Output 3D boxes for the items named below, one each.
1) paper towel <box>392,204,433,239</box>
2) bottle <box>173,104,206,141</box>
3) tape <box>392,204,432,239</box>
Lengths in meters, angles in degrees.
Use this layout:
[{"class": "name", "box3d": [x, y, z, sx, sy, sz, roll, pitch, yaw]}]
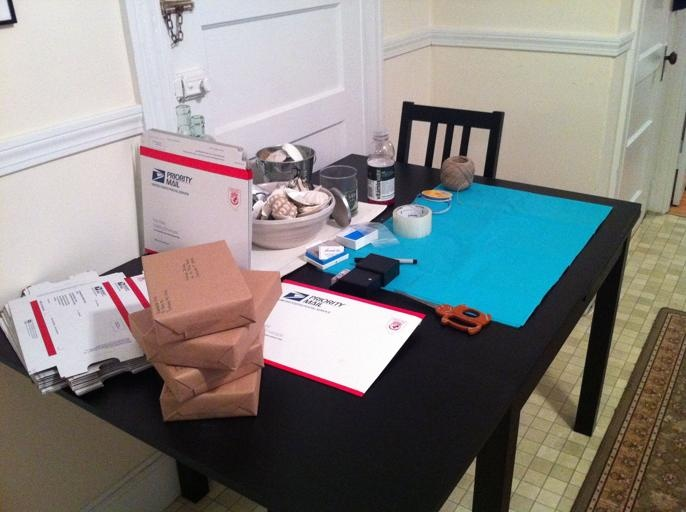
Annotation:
[{"class": "paper towel", "box3d": [0.213, -0.114, 1.573, 0.101, 0.064, 0.103, -21, 38, -21]}, {"class": "bottle", "box3d": [-0.458, -0.400, 1.530, 0.075, 0.094, 0.084, -9, 27, -13]}, {"class": "tape", "box3d": [0.211, -0.114, 1.573, 0.101, 0.064, 0.104, -19, 38, -18]}]
